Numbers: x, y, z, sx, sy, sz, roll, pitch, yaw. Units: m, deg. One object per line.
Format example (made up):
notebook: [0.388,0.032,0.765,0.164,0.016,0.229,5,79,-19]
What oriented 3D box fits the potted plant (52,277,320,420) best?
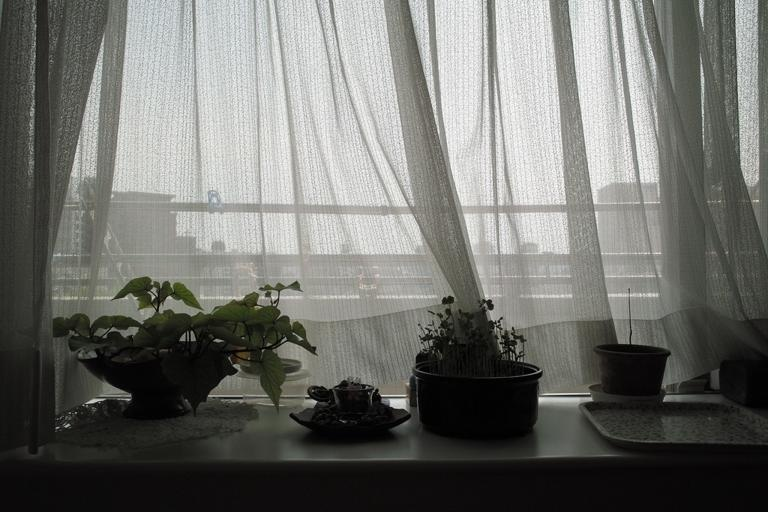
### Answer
potted plant: [-0.582,0.257,1.934,0.748,0.395,0.344,-2,-2,-3]

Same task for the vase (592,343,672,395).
vase: [0.724,0.330,2.051,0.169,0.086,0.159,-5,0,8]

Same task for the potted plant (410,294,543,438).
potted plant: [0.282,0.316,2.027,0.415,0.354,0.404,4,-8,-34]
